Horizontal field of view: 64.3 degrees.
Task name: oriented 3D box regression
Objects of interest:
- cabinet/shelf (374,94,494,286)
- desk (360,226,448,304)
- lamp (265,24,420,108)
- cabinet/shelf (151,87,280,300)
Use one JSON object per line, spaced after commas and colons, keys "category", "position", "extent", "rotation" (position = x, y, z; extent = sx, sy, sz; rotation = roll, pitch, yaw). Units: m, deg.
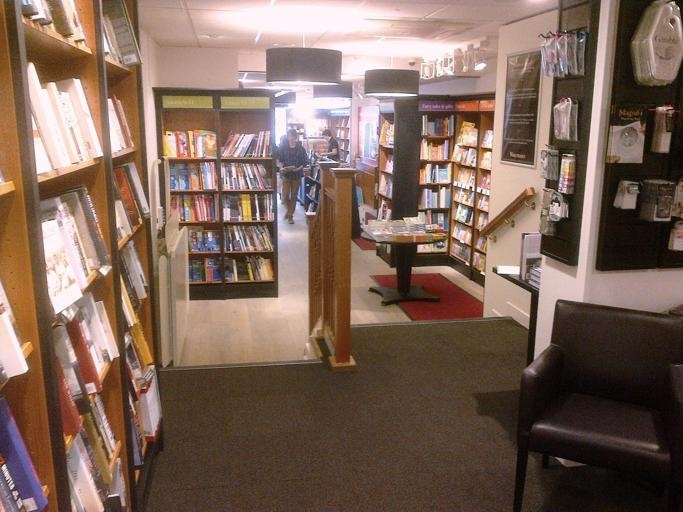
{"category": "cabinet/shelf", "position": [1.579, -1.033, 8.788], "extent": [0.931, 2.907, 2.944], "rotation": [-2, 9, -17]}
{"category": "desk", "position": [0.908, 0.122, 7.577], "extent": [1.048, 0.810, 1.071], "rotation": [-1, 8, -9]}
{"category": "lamp", "position": [0.056, -2.044, 5.414], "extent": [1.682, 0.400, 0.997], "rotation": [2, 7, 1]}
{"category": "cabinet/shelf", "position": [-1.712, -0.851, 7.694], "extent": [1.568, 2.888, 0.634], "rotation": [-2, 15, -10]}
